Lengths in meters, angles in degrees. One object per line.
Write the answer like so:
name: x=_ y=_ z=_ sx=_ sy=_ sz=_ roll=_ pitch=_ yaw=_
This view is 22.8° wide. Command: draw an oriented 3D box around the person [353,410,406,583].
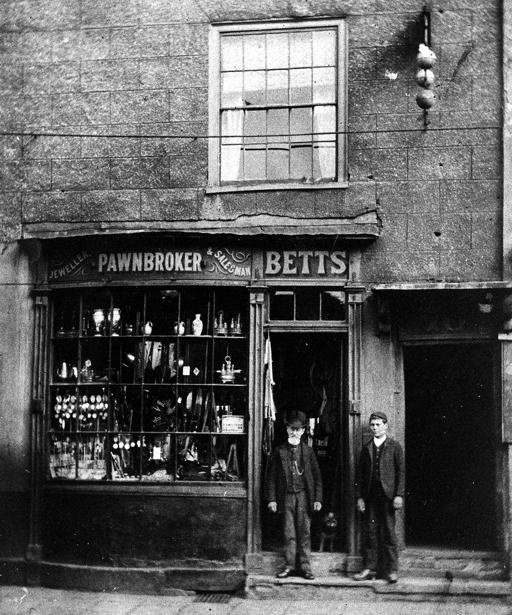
person: x=1.393 y=2.146 z=14.369 sx=0.543 sy=1.903 sz=0.280 roll=-2 pitch=-6 yaw=17

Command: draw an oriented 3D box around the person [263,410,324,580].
person: x=0.439 y=2.130 z=14.538 sx=0.613 sy=1.906 sz=0.393 roll=0 pitch=-5 yaw=1
